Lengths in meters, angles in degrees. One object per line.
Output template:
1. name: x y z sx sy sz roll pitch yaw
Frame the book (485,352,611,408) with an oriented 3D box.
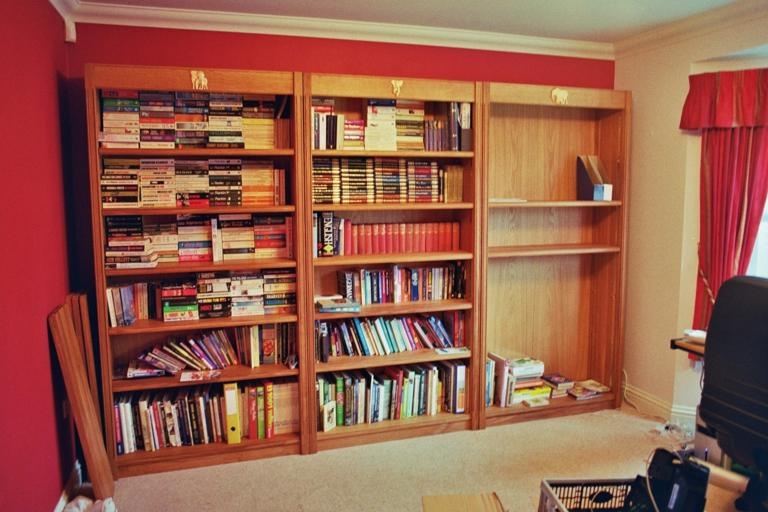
1. book: 1.312 1.109 5.300 0.799 0.291 0.558 0 -1 -16
